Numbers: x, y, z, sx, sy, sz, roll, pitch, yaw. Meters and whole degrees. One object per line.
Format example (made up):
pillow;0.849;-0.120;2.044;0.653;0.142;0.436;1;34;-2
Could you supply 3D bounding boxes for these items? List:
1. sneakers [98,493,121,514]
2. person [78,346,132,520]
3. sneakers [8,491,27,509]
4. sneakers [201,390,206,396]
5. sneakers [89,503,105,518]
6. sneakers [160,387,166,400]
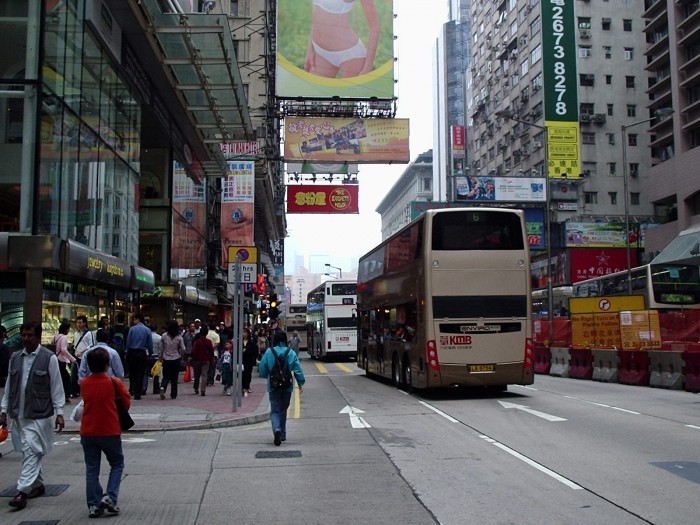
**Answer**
sneakers;-2.979;3.015;8.458;0.116;0.185;0.362;-1;-15;4
person;-3.083;2.104;8.566;0.569;2.089;0.495;1;-7;-24
sneakers;-4.214;3.036;8.665;0.107;0.169;0.331;0;-11;-5
sneakers;-4.392;3.919;20.366;0.087;0.174;0.159;1;-5;-6
sneakers;-3.107;3.053;8.368;0.094;0.146;0.303;0;-8;-5
sneakers;-5.274;3.711;19.138;0.101;0.397;0.136;1;4;-1
